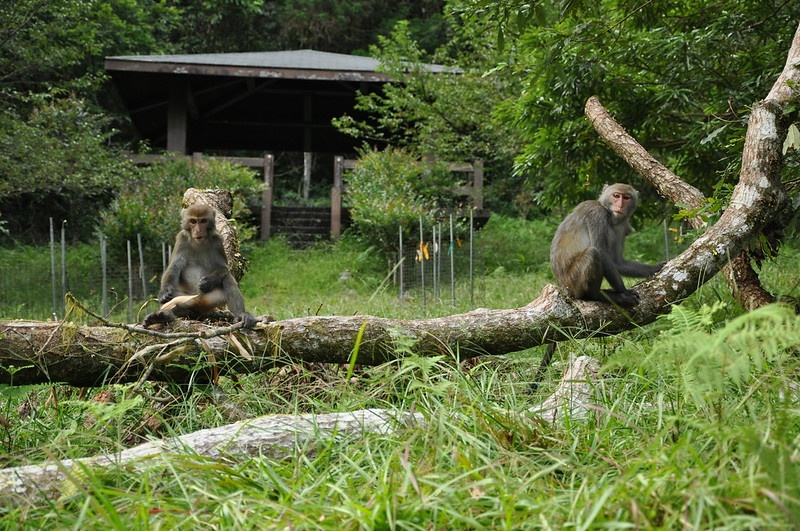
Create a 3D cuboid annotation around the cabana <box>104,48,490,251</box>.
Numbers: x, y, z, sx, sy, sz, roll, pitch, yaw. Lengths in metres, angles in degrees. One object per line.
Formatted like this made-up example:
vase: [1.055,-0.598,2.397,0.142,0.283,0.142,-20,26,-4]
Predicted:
cabana: [-3.493,-3.331,21.920,7.266,4.363,8.408,-5,13,-22]
